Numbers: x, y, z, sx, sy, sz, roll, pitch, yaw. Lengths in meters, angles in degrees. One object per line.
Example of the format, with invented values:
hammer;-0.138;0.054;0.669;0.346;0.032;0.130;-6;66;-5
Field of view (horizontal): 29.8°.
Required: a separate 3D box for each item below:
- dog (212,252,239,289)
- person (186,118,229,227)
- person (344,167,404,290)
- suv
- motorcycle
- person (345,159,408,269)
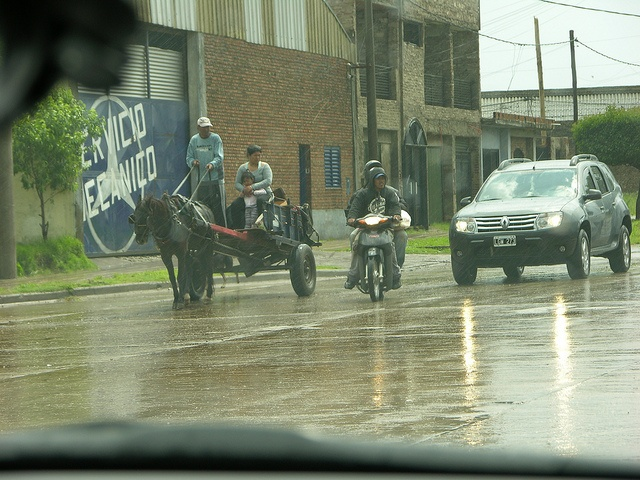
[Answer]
dog;-1.496;0.395;18.505;0.426;0.596;0.454;12;-13;-29
person;-1.776;-0.844;18.788;0.557;2.116;0.689;-1;5;16
person;0.817;-0.230;17.427;0.507;1.464;1.680;-1;1;3
suv;3.777;-0.360;19.689;1.713;1.671;3.193;-3;-6;25
motorcycle;0.827;0.171;17.455;0.598;1.208;1.880;-2;4;8
person;0.869;-0.346;18.091;0.874;1.999;1.052;0;7;12
